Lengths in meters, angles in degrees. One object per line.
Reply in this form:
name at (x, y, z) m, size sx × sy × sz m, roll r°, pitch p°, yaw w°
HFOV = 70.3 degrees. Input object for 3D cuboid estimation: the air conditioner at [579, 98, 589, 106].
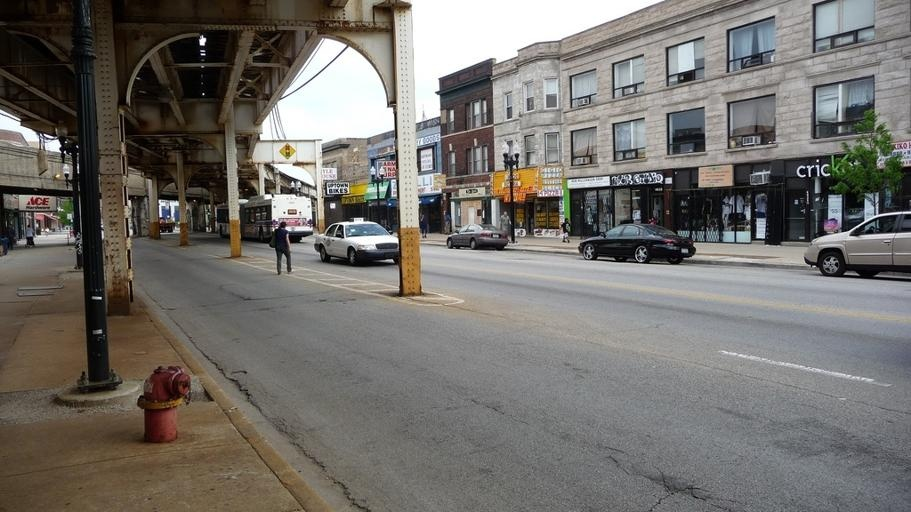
air conditioner at (8.754, -10.442, 44.130) m, size 0.236 × 0.412 × 0.936 m, roll -3°, pitch 4°, yaw -33°

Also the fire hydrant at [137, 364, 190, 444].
fire hydrant at (-5.325, 2.679, 11.812) m, size 0.870 × 1.350 × 0.413 m, roll -2°, pitch 4°, yaw -18°

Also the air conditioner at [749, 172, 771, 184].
air conditioner at (16.573, -4.195, 35.274) m, size 0.600 × 0.665 × 1.048 m, roll -1°, pitch 0°, yaw -34°

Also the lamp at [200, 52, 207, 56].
lamp at (-11.943, -9.485, 30.529) m, size 0.209 × 0.190 × 0.049 m, roll 8°, pitch 15°, yaw 38°

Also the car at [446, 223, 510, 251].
car at (1.318, -1.169, 39.536) m, size 3.796 × 1.497 × 1.294 m, roll 3°, pitch 5°, yaw 44°

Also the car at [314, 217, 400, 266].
car at (-4.636, -0.632, 30.704) m, size 2.024 × 1.951 × 4.465 m, roll -4°, pitch 5°, yaw -37°

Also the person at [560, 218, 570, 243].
person at (7.189, -1.631, 42.463) m, size 0.409 × 1.440 × 1.182 m, roll 0°, pitch 4°, yaw 7°

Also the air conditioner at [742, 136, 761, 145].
air conditioner at (16.265, -6.324, 35.611) m, size 0.941 × 0.519 × 0.185 m, roll 2°, pitch 5°, yaw 35°
